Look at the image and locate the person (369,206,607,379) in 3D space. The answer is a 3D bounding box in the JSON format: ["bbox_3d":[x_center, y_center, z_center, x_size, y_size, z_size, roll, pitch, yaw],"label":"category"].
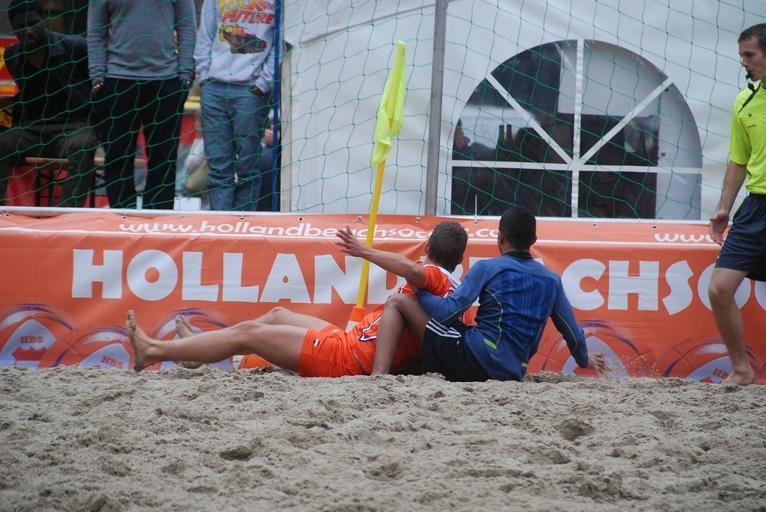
[{"bbox_3d":[0.742,0.438,7.788,1.461,1.150,1.162,15,-11,-31],"label":"person"}]

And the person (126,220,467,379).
[{"bbox_3d":[-0.515,0.260,8.252,1.980,1.154,1.241,3,-4,8],"label":"person"}]
